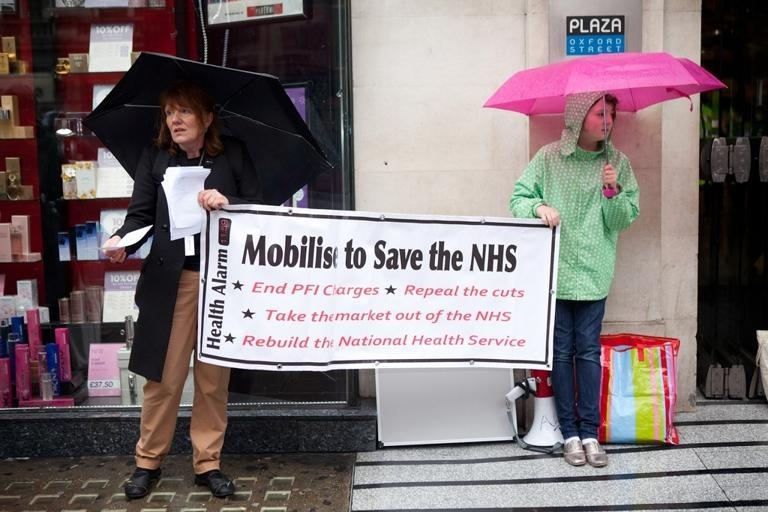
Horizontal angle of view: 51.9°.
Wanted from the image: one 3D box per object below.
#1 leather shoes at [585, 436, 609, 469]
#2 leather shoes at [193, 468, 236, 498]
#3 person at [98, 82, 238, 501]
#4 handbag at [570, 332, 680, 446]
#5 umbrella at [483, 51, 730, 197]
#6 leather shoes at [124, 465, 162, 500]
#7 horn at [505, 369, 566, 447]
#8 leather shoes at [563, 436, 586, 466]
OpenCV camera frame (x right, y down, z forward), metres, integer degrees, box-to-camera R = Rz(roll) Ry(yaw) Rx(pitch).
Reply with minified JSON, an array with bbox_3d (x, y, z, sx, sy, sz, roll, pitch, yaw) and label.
[{"bbox_3d":[1.556,1.444,5.788,0.100,0.102,0.248,-4,20,-2],"label":"leather shoes"},{"bbox_3d":[-1.180,1.577,5.505,0.300,0.128,0.141,9,12,36],"label":"leather shoes"},{"bbox_3d":[-1.409,0.256,5.464,0.929,2.835,0.426,-3,6,-12],"label":"person"},{"bbox_3d":[1.931,1.015,6.327,0.698,0.780,0.673,0,4,6],"label":"handbag"},{"bbox_3d":[1.548,-1.150,5.534,1.130,0.910,1.104,3,36,-3],"label":"umbrella"},{"bbox_3d":[-1.702,1.598,5.552,0.124,0.133,0.314,0,-4,4],"label":"leather shoes"},{"bbox_3d":[1.191,1.188,6.084,0.390,0.599,0.394,3,-25,-21],"label":"horn"},{"bbox_3d":[1.408,1.441,5.820,0.160,0.183,0.117,-1,7,8],"label":"leather shoes"}]
